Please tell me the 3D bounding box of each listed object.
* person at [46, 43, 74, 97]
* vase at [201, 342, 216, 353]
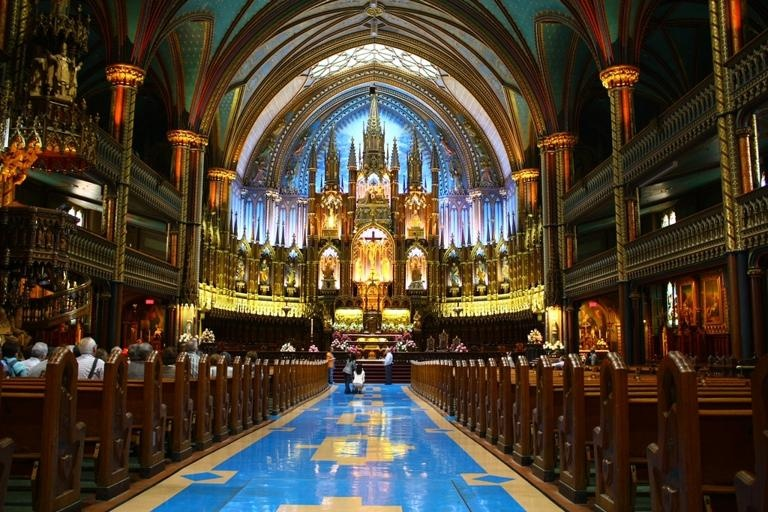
[{"bbox_3d":[-8.591,-4.719,17.863,0.707,1.218,0.396,5,-14,-30],"label":"person"},{"bbox_3d":[-7.881,4.085,30.037,0.567,0.616,0.583,4,-10,-25],"label":"vase"}]
